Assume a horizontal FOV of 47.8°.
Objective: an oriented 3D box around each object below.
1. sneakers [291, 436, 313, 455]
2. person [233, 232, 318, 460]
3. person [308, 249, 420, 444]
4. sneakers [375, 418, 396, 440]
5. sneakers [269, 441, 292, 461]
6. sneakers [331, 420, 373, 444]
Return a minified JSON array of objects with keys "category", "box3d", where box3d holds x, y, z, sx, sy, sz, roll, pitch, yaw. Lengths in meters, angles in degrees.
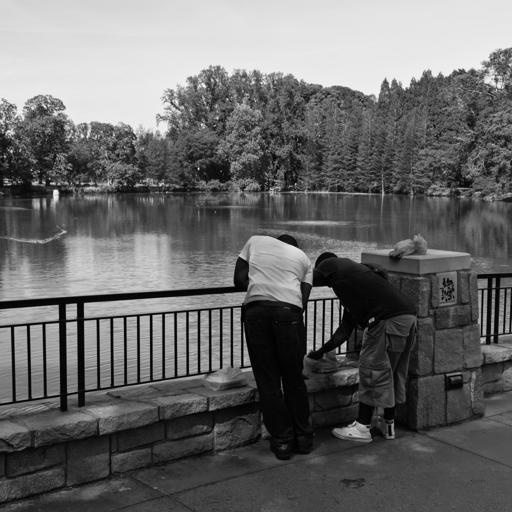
[{"category":"sneakers","box3d":[0.327,1.278,3.919,0.109,0.098,0.117,-1,3,-12]},{"category":"person","box3d":[0.128,0.610,3.908,0.547,1.455,0.334,1,3,-4]},{"category":"person","box3d":[0.783,0.662,4.185,0.709,1.354,0.496,2,3,18]},{"category":"sneakers","box3d":[0.980,1.280,4.342,0.070,0.109,0.230,0,2,0]},{"category":"sneakers","box3d":[0.172,1.289,3.887,0.152,0.118,0.167,1,3,4]},{"category":"sneakers","box3d":[0.698,1.275,4.215,0.259,0.143,0.126,4,1,20]}]
